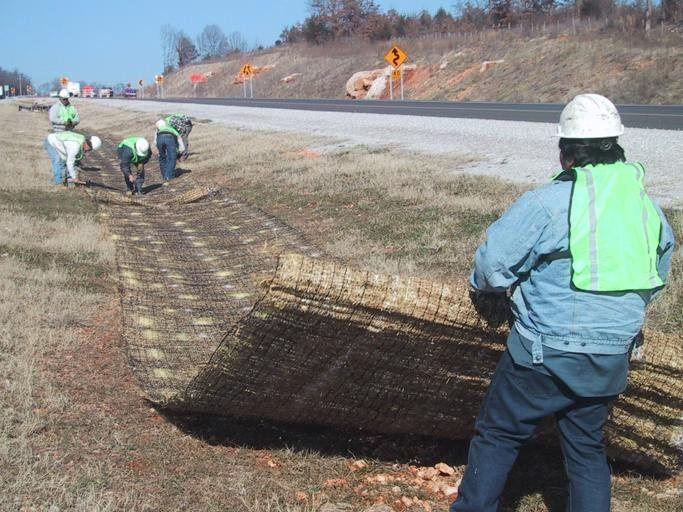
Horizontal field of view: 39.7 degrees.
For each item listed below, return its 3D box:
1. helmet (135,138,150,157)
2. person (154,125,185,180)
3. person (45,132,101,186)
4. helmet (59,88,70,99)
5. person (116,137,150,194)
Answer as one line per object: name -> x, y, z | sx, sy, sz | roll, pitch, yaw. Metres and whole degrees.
helmet -> -3.982, -2.156, 18.911 | 0.238, 0.364, 0.359 | -4, 17, -3
person -> -3.760, -2.297, 20.735 | 0.547, 1.258, 1.026 | -6, 17, -10
person -> -5.413, -1.959, 18.892 | 1.120, 1.000, 0.789 | 10, 21, -9
helmet -> -6.100, -3.618, 20.831 | 0.225, 0.274, 0.287 | 7, -3, -20
person -> -4.141, -1.806, 19.074 | 0.611, 1.130, 0.882 | -7, 17, -12
